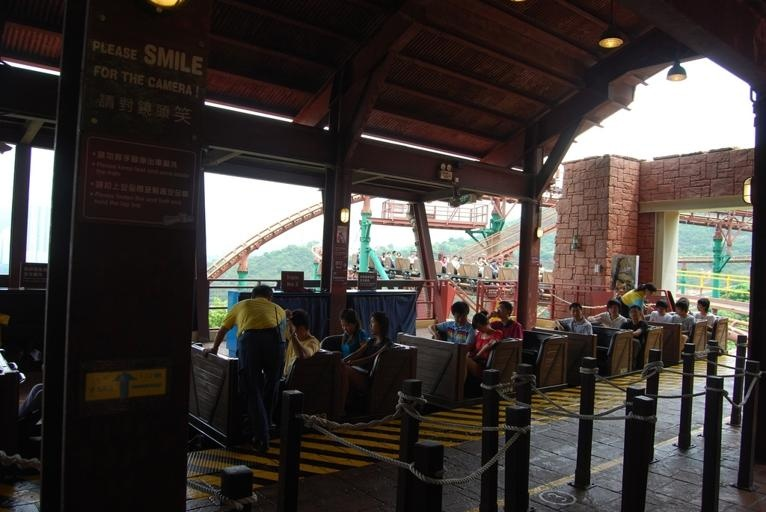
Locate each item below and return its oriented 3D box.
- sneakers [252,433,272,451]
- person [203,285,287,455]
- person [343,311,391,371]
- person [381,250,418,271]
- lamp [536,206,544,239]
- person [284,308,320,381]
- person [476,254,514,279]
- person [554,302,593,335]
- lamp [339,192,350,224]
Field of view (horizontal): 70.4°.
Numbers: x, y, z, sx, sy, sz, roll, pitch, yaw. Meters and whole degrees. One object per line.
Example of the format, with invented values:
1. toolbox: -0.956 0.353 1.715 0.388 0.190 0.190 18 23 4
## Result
1. sneakers: -1.462 2.228 6.607 0.218 0.254 0.209 0 -3 -27
2. person: -1.623 1.370 6.875 0.664 1.980 0.555 -2 -3 28
3. person: -0.212 1.210 7.761 0.647 0.815 0.375 -1 -2 1
4. person: 1.176 0.315 34.012 1.185 0.851 2.108 0 -1 -33
5. lamp: 4.309 -0.900 14.990 0.124 0.849 0.346 -2 -3 24
6. person: -1.093 1.153 7.142 0.485 0.888 0.442 -1 -2 5
7. person: 5.589 0.385 26.745 1.462 0.763 2.005 -1 -5 31
8. person: 3.712 1.380 10.617 0.552 0.919 0.694 8 -5 -43
9. lamp: -0.823 -1.020 11.939 0.167 0.632 0.280 -3 -3 37
